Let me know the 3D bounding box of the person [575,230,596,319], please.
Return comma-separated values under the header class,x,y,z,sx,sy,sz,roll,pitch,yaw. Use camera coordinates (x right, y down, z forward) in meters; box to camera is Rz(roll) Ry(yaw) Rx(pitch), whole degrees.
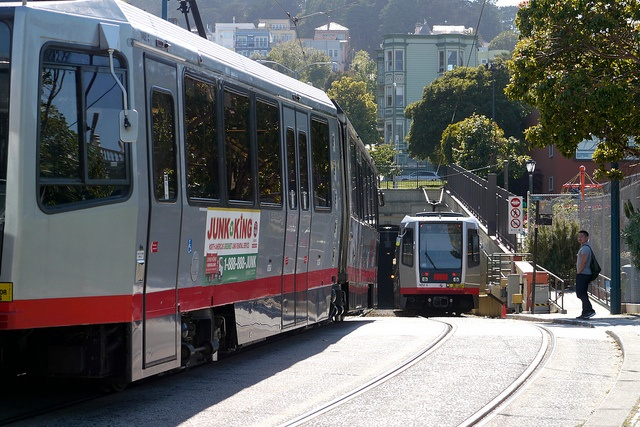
class,x,y,z,sx,sy,sz,roll,pitch,yaw
person,6.927,1.600,17.211,0.415,1.775,0.711,0,0,23
